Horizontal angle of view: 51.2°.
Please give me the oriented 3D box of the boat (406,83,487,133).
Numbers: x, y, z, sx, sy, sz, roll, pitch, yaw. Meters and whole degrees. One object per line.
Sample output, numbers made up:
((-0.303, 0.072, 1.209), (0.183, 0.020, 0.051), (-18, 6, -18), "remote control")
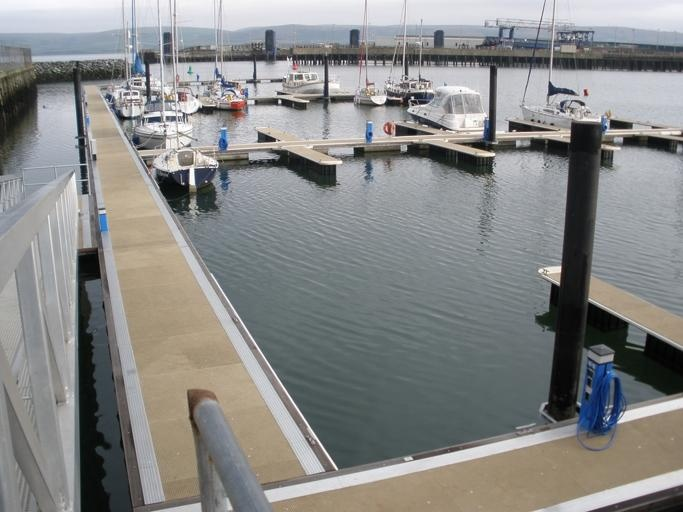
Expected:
((4.916, -6.547, 31.689), (1.513, 1.791, 4.187), (-12, 22, -28), "boat")

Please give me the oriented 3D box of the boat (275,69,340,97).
((-2.759, -12.340, 52.564), (2.050, 1.855, 4.100), (-9, 23, -25), "boat")
